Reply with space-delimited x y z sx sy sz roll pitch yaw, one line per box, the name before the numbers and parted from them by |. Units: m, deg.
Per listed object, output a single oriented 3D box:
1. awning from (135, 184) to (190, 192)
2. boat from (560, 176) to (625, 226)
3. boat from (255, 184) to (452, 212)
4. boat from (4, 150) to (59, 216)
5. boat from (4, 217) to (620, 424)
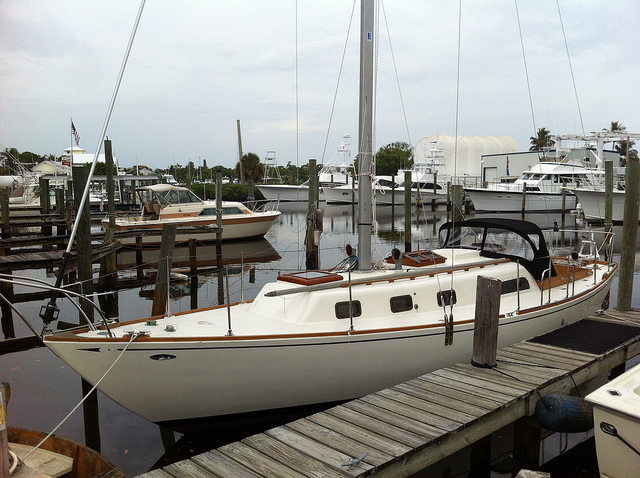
awning | -5.816 -1.848 20.551 0.816 0.210 0.806 3 2 25
boat | 13.515 -1.696 28.094 2.622 2.584 4.698 -1 10 19
boat | 2.176 -2.356 32.273 11.191 2.153 2.721 3 3 -5
boat | -15.359 -2.855 30.097 1.991 2.221 15.634 -8 10 -26
boat | 0.537 1.016 9.118 8.788 2.648 4.613 -6 9 -13
